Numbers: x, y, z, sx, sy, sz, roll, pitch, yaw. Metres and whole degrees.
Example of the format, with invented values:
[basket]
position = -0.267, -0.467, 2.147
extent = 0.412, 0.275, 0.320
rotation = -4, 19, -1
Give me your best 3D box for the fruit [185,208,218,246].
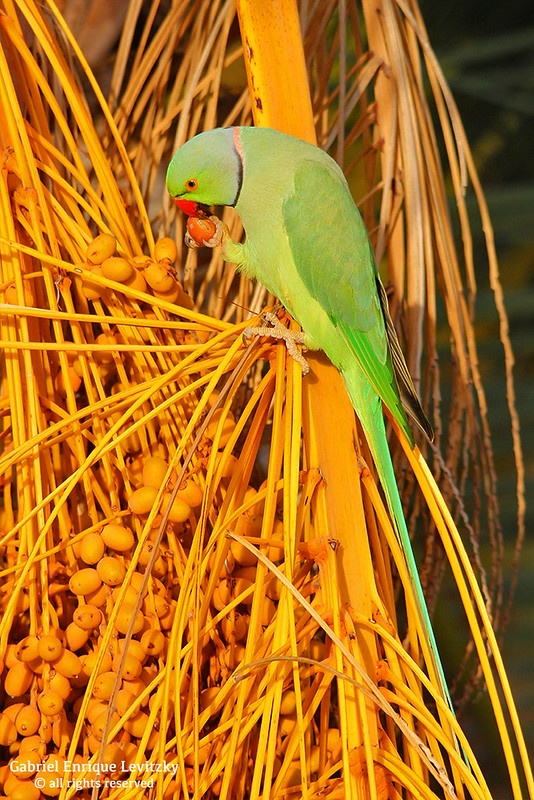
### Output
[fruit]
position = -0.045, -0.125, 0.662
extent = 0.018, 0.027, 0.022
rotation = -4, 26, -3
